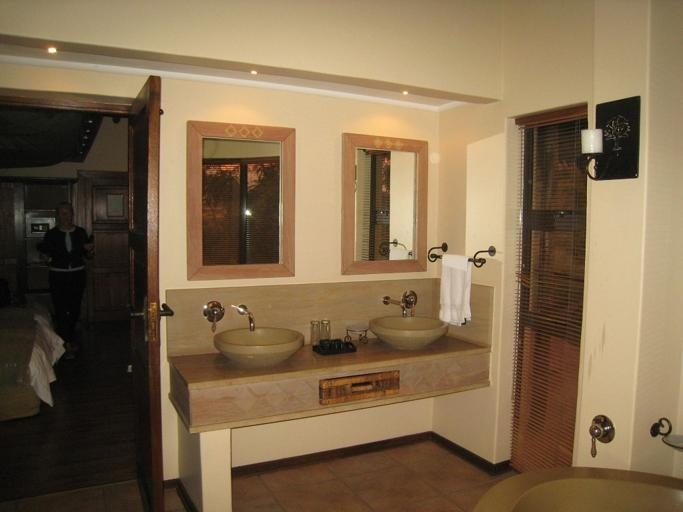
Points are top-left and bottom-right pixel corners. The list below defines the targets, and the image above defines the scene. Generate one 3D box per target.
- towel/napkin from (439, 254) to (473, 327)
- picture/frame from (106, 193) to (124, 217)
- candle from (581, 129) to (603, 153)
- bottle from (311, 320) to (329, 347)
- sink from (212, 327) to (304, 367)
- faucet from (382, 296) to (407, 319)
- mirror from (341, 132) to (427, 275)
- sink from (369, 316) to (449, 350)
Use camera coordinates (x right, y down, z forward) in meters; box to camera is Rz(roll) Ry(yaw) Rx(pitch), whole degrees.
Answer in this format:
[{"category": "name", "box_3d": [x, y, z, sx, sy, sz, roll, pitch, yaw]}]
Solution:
[{"category": "towel/napkin", "box_3d": [0.836, 0.255, 3.836, 0.144, 0.502, 0.341, -2, 8, -23]}, {"category": "picture/frame", "box_3d": [-3.375, -0.742, 7.674, 0.259, 0.357, 0.052, -2, 8, -22]}, {"category": "candle", "box_3d": [1.297, -0.588, 2.667, 0.126, 0.136, 0.126, 2, 6, 12]}, {"category": "bottle", "box_3d": [-0.153, 0.548, 3.709, 0.155, 0.176, 0.322, 1, 7, -3]}, {"category": "sink", "box_3d": [-0.545, 0.585, 3.362, 0.551, 0.181, 0.568, 0, 7, -12]}, {"category": "faucet", "box_3d": [0.419, 0.399, 4.033, 0.097, 0.153, 0.267, -1, 14, -36]}, {"category": "mirror", "box_3d": [0.337, -0.390, 4.006, 0.750, 1.051, 0.111, -2, 8, -23]}, {"category": "sink", "box_3d": [0.486, 0.563, 3.770, 0.549, 0.166, 0.484, 3, 7, 13]}]
